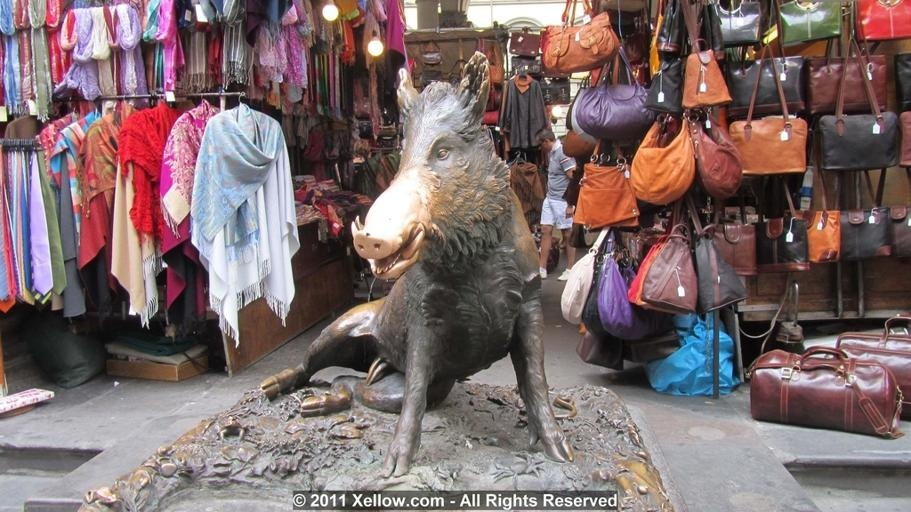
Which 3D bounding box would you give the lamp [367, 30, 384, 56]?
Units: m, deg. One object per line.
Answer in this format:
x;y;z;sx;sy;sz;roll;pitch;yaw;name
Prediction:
-0.907;-2.367;7.288;0.172;0.239;0.240;-2;8;-7;lamp

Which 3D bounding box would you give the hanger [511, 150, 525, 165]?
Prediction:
1.055;-1.670;11.038;0.244;0.224;0.785;0;8;5;hanger

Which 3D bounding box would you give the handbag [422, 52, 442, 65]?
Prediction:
-0.392;-3.211;10.626;0.264;0.214;0.194;0;25;1;handbag

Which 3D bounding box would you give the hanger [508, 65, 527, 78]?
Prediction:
1.001;-2.970;10.561;0.383;0.173;0.454;-2;23;6;hanger

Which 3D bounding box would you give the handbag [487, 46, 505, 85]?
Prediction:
0.644;-3.135;10.744;0.194;0.641;0.550;3;9;25;handbag

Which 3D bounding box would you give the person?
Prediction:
1.483;-0.859;9.535;0.857;2.672;0.877;3;3;2;person

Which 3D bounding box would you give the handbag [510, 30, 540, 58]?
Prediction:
1.049;-3.282;10.045;0.455;0.402;0.428;-1;8;2;handbag

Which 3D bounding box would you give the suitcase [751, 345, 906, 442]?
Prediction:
3.032;1.090;5.367;1.112;0.669;0.226;2;9;18;suitcase
